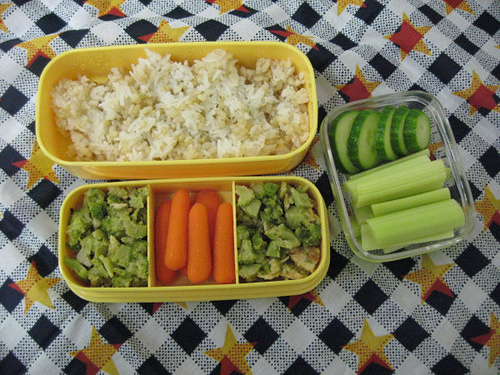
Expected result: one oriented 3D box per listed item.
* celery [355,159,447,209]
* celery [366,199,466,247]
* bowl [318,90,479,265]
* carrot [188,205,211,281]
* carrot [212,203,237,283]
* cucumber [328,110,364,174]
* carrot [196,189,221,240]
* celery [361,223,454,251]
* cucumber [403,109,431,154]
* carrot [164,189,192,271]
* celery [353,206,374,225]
[{"bbox_3d":[0.938,0.024,2.846,0.605,0.216,0.208,-2,87,36],"label":"celery"},{"bbox_3d":[0.975,0.201,2.801,0.559,0.077,0.175,-13,84,-3],"label":"celery"},{"bbox_3d":[0.894,-0.077,2.894,0.813,0.238,0.983,-13,84,-3],"label":"bowl"},{"bbox_3d":[-0.291,0.316,2.750,0.107,0.123,0.441,-2,79,-5],"label":"carrot"},{"bbox_3d":[-0.141,0.323,2.850,0.120,0.127,0.463,1,77,-7],"label":"carrot"},{"bbox_3d":[0.605,-0.262,2.970,0.190,0.183,0.370,7,122,35],"label":"cucumber"},{"bbox_3d":[-0.249,0.150,2.816,0.101,0.116,0.266,-2,79,-1],"label":"carrot"},{"bbox_3d":[0.968,0.321,2.894,0.580,0.135,0.091,-18,95,13],"label":"celery"},{"bbox_3d":[1.015,-0.348,2.925,0.079,0.217,0.275,-4,99,35],"label":"cucumber"},{"bbox_3d":[-0.419,0.246,2.833,0.113,0.133,0.476,0,76,10],"label":"carrot"},{"bbox_3d":[0.690,0.160,2.873,0.091,0.027,0.097,-24,85,-3],"label":"celery"}]
